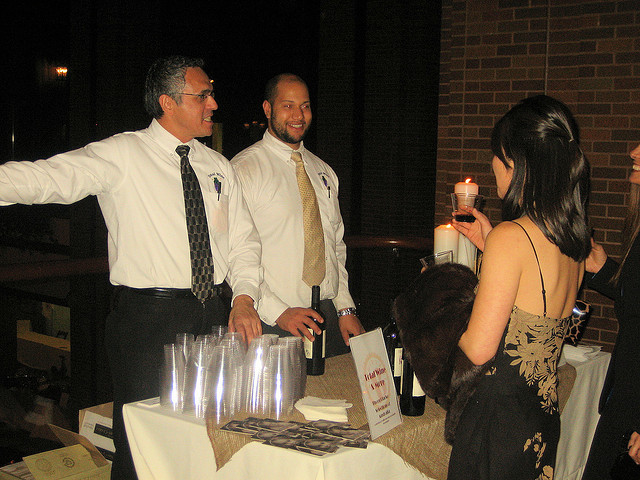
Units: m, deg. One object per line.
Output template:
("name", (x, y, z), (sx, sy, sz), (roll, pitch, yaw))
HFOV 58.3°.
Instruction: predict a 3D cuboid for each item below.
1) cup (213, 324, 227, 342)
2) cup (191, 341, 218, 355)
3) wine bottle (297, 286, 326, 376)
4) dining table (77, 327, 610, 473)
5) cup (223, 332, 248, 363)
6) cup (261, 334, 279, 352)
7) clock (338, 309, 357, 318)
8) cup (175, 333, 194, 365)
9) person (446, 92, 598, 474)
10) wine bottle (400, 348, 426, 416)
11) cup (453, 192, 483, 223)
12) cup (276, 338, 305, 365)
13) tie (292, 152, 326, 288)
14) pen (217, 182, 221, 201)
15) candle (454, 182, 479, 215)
("cup", (-0.360, 0.348, 2.101), (0.045, 0.074, 0.047), (2, -2, 0))
("cup", (-0.397, 0.364, 1.925), (0.055, 0.052, 0.054), (2, -5, 0))
("wine bottle", (-0.023, 0.385, 2.418), (0.110, 0.376, 0.099), (0, 7, -16))
("dining table", (0.123, 0.570, 2.022), (0.793, 0.309, 1.316), (2, 0, 41))
("cup", (-0.295, 0.370, 1.960), (0.087, 0.091, 0.087), (0, 0, 0))
("cup", (-0.175, 0.364, 2.005), (0.048, 0.051, 0.048), (1, 2, 0))
("clock", (0.151, 0.395, 3.139), (0.077, 0.045, 0.077), (1, 3, 14))
("cup", (-0.466, 0.385, 2.003), (0.081, 0.114, 0.085), (0, 0, 0))
("person", (0.696, 0.160, 1.945), (0.449, 1.296, 0.340), (3, 7, 11))
("wine bottle", (0.323, 0.532, 2.039), (0.068, 0.167, 0.101), (2, 4, 22))
("cup", (0.640, -0.141, 2.511), (0.121, 0.113, 0.127), (2, -6, 0))
("cup", (-0.099, 0.377, 1.950), (0.084, 0.080, 0.085), (0, -1, 0))
("tie", (-0.056, -0.116, 3.153), (0.177, 0.728, 0.254), (0, 7, -11))
("pen", (-0.477, -0.224, 2.683), (0.021, 0.090, 0.011), (7, -22, -11))
("candle", (0.655, -0.163, 2.565), (0.118, 0.183, 0.114), (5, 7, 25))
